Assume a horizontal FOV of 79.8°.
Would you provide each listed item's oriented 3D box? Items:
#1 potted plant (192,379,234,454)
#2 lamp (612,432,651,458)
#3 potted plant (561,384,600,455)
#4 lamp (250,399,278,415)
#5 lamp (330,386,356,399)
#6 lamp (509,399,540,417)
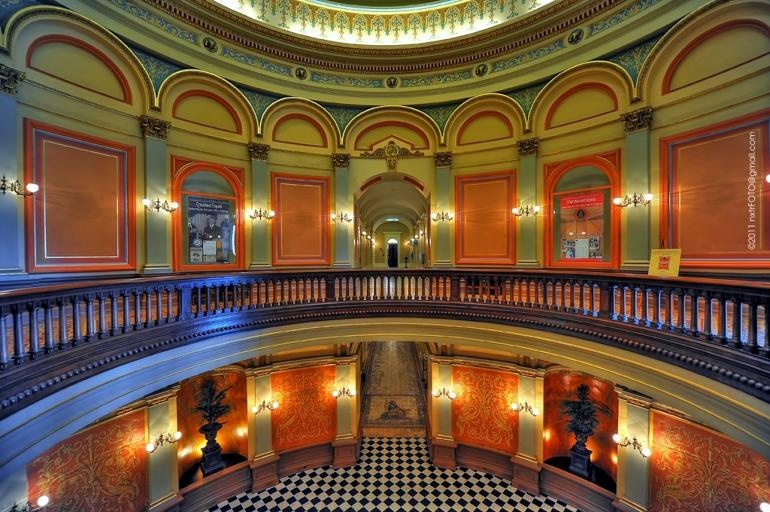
[{"bbox_3d":[-4.419,3.965,11.716,0.877,1.731,0.687,4,-8,-28],"label":"potted plant"},{"bbox_3d":[5.699,4.365,10.651,0.399,0.387,0.955,13,-7,-34],"label":"lamp"},{"bbox_3d":[4.931,4.048,11.624,0.823,1.602,0.676,3,-7,-23],"label":"potted plant"},{"bbox_3d":[-3.175,3.901,11.887,0.448,0.291,0.136,0,-5,-18],"label":"lamp"},{"bbox_3d":[-1.131,3.716,12.556,0.643,0.323,0.094,2,-7,-12],"label":"lamp"},{"bbox_3d":[3.564,3.881,11.729,0.494,0.249,0.135,2,-13,25],"label":"lamp"}]
